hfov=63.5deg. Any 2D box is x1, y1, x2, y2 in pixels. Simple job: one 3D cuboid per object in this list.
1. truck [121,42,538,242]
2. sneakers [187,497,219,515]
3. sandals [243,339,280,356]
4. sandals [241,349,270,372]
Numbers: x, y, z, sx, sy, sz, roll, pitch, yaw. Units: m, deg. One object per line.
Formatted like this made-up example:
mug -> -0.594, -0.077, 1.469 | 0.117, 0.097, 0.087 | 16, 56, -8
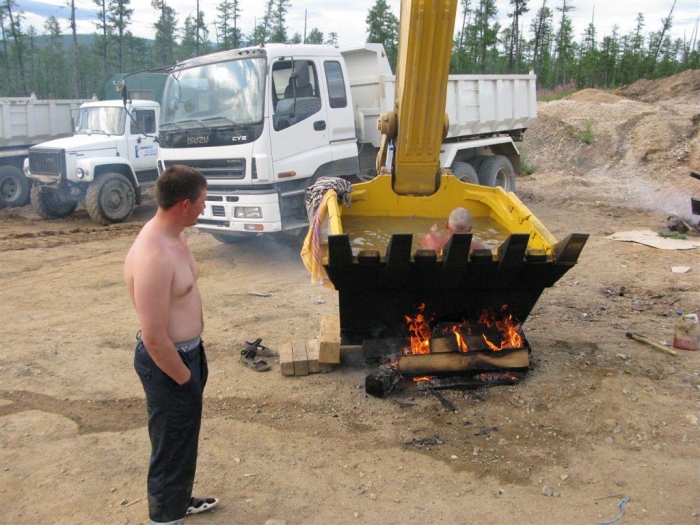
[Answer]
truck -> 0.526, -2.560, 11.458 | 7.901, 3.166, 3.397 | -11, 13, -43
sneakers -> -1.142, 1.890, 4.422 | 0.275, 0.123, 0.093 | -5, 23, -16
sandals -> -1.012, 0.973, 6.335 | 0.321, 0.107, 0.219 | 2, 9, -5
sandals -> -1.036, 1.082, 6.164 | 0.308, 0.061, 0.173 | 19, 35, 19
